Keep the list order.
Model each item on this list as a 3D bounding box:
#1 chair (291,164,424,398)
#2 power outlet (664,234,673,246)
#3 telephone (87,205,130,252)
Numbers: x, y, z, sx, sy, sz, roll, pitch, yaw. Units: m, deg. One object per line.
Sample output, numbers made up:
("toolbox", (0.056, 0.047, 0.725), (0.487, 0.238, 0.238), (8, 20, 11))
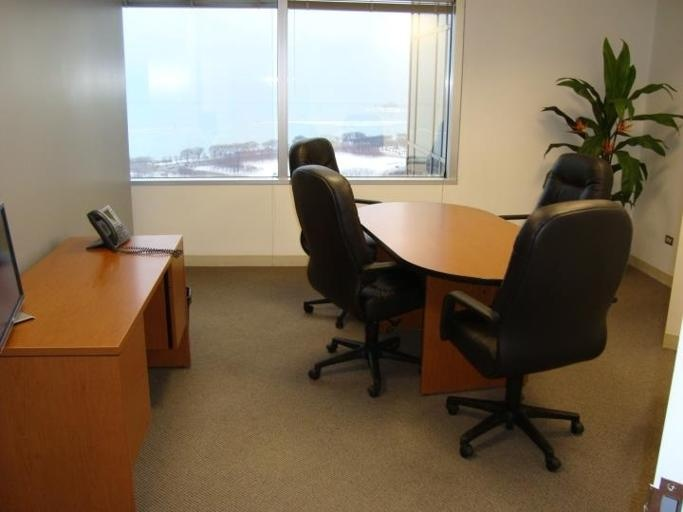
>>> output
("chair", (0.116, 0.127, 3.359), (0.790, 1.407, 0.612), (1, 17, 13))
("power outlet", (3.068, -0.148, 5.133), (0.017, 0.068, 0.071), (8, 5, -23))
("telephone", (-1.406, -0.141, 3.313), (0.178, 0.246, 0.324), (-10, -6, -9))
